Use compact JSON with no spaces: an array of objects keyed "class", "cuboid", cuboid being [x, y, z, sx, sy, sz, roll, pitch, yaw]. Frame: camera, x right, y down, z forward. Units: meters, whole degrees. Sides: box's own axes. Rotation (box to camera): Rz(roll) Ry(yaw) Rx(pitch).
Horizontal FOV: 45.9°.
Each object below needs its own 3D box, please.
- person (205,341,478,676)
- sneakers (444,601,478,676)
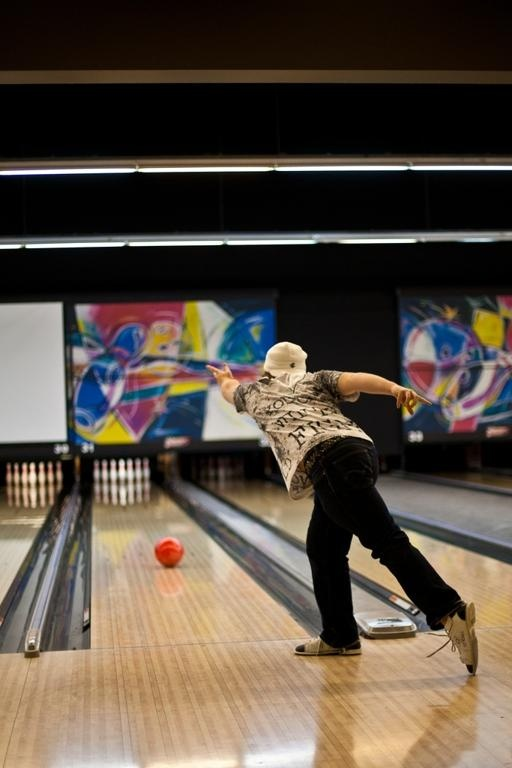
[{"class":"person","cuboid":[0.198,0.320,1.877,0.296,1.045,1.020,12,-20,-40]},{"class":"sneakers","cuboid":[0.557,0.676,1.662,0.065,0.202,0.081,-20,16,-40]}]
